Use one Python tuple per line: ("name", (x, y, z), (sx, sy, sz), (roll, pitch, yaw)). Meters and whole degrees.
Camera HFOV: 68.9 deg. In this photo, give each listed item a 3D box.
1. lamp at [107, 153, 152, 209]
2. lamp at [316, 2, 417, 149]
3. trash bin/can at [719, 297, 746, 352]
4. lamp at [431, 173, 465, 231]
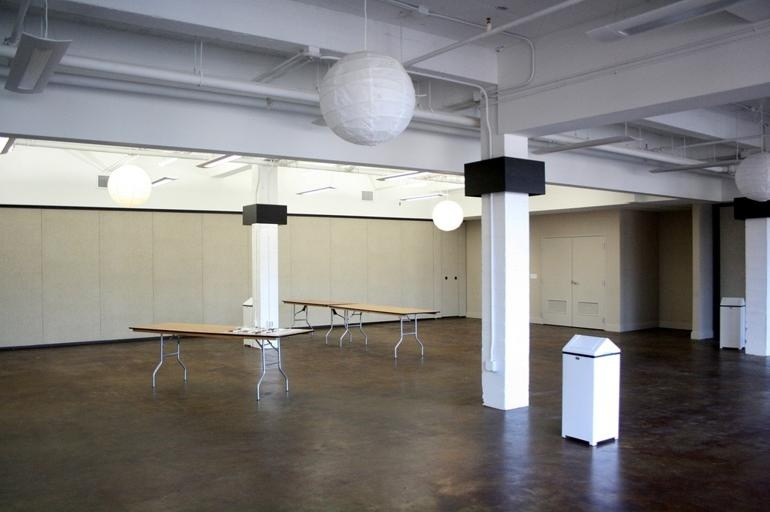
("lamp", (-4.304, -1.152, 9.528), (0.672, 0.759, 0.674), (-1, 1, 15))
("lamp", (-0.197, -1.449, 5.144), (0.843, 1.665, 0.861), (-3, -3, 14))
("trash bin/can", (7.890, 1.521, 12.722), (0.471, 1.127, 0.482), (0, -1, 31))
("lamp", (1.533, -1.330, 13.512), (0.772, 1.612, 0.742), (-10, -21, 33))
